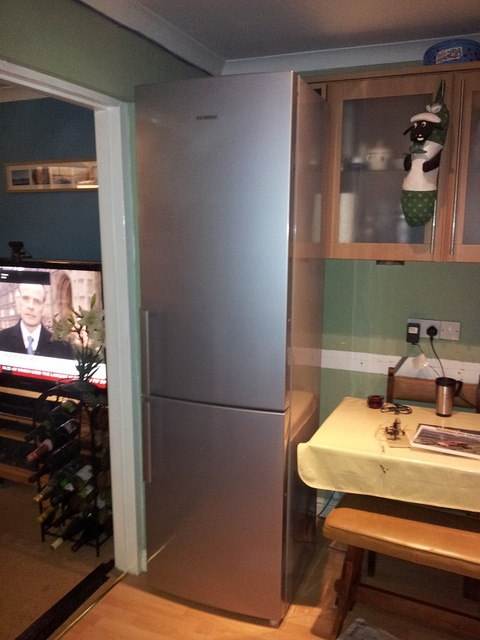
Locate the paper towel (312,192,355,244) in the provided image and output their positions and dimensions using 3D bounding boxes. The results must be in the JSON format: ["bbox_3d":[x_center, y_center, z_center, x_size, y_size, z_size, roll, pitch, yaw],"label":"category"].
[{"bbox_3d":[0.396,-0.423,2.233,0.154,0.237,0.161,-9,31,-7],"label":"paper towel"}]

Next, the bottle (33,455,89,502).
[{"bbox_3d":[-0.826,0.742,2.464,0.101,0.097,0.336,33,38,16],"label":"bottle"}]

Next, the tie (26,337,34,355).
[{"bbox_3d":[-1.114,0.143,2.805,0.022,0.081,0.059,2,11,-22],"label":"tie"}]

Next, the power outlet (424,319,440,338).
[{"bbox_3d":[0.842,0.037,2.316,0.017,0.068,0.069,8,-4,-44],"label":"power outlet"}]

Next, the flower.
[{"bbox_3d":[-0.774,0.099,2.584,0.213,0.319,0.231,-5,8,37],"label":"flower"}]

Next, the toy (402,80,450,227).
[{"bbox_3d":[0.679,-0.611,1.965,0.161,0.529,0.166,4,11,28],"label":"toy"}]

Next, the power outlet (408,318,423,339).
[{"bbox_3d":[0.777,0.044,2.361,0.058,0.088,0.031,1,10,14],"label":"power outlet"}]

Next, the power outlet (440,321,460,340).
[{"bbox_3d":[0.914,0.045,2.295,0.077,0.083,0.026,5,8,30],"label":"power outlet"}]

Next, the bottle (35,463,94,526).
[{"bbox_3d":[-0.812,0.795,2.463,0.258,0.206,0.208,-4,10,-18],"label":"bottle"}]

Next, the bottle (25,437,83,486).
[{"bbox_3d":[-0.846,0.649,2.475,0.097,0.095,0.324,18,50,3],"label":"bottle"}]
